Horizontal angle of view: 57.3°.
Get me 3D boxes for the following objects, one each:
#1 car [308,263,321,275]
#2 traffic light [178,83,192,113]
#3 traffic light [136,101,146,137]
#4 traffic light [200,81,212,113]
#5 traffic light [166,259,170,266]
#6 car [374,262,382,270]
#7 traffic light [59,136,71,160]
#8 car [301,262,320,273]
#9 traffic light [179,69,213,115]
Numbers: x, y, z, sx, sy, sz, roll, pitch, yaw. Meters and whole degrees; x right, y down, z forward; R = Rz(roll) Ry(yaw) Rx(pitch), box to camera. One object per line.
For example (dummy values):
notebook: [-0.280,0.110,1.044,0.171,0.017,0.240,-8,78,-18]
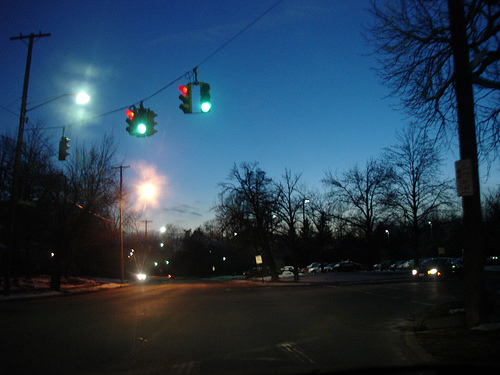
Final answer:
car: [9.599,12.236,67.886,1.745,1.182,5.188,-5,-14,3]
traffic light: [-2.361,-3.303,16.751,0.447,1.210,0.383,-1,-11,-10]
traffic light: [-4.352,-2.738,18.280,0.575,1.607,0.348,-12,-14,40]
traffic light: [-1.599,-3.259,16.327,0.330,1.230,0.829,-1,-12,-8]
traffic light: [-21.513,19.713,119.393,0.951,1.207,1.977,-3,23,-10]
car: [20.116,12.534,71.862,1.176,1.033,3.086,-7,-14,13]
traffic light: [-8.240,-1.709,20.319,0.395,1.201,1.147,2,-13,-24]
car: [9.946,12.952,73.829,2.284,1.452,1.438,3,-19,-3]
traffic light: [-1.978,-3.343,16.618,1.037,1.466,0.575,-2,-8,0]
